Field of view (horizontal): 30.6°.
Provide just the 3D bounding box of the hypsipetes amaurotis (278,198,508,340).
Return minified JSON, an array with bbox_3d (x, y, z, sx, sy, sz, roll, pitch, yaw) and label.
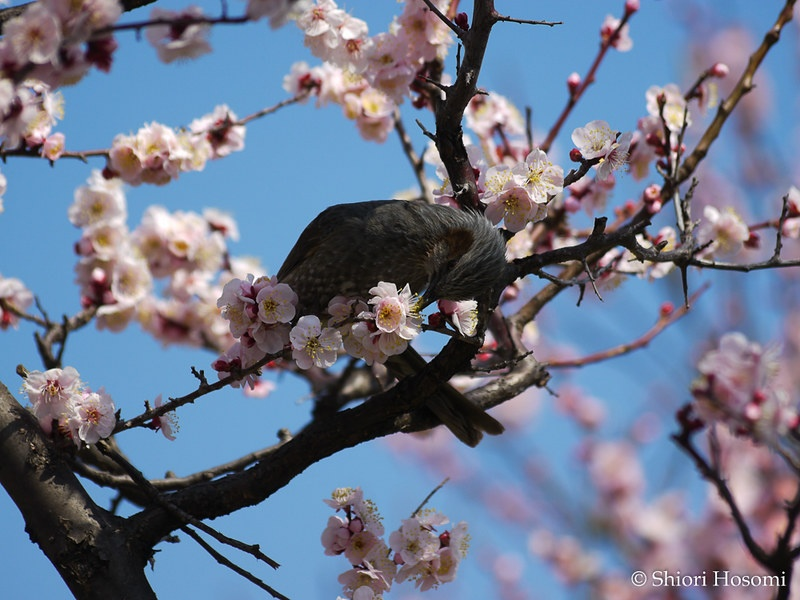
[{"bbox_3d":[0.010,-0.230,8.921,1.635,0.596,0.790,19,-88,26],"label":"hypsipetes amaurotis"}]
